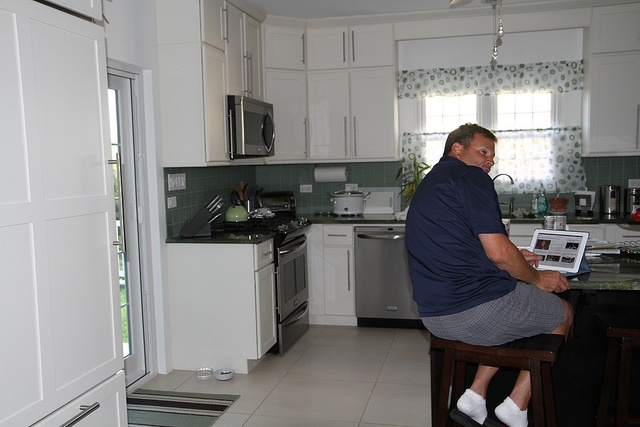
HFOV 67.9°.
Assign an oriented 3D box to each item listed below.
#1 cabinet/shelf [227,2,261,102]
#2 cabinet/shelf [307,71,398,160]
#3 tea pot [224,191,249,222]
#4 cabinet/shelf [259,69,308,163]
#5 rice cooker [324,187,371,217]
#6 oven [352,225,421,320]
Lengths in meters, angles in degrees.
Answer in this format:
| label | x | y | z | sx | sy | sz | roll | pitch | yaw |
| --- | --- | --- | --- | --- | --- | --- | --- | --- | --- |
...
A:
| label | x | y | z | sx | sy | sz | roll | pitch | yaw |
| --- | --- | --- | --- | --- | --- | --- | --- | --- | --- |
| cabinet/shelf | -0.753 | -1.563 | 4.650 | 0.221 | 0.738 | 0.344 | 3 | 11 | 6 |
| cabinet/shelf | 0.383 | -1.103 | 5.305 | 1.111 | 0.933 | 0.576 | 4 | 10 | 14 |
| tea pot | -0.822 | -0.047 | 4.880 | 0.226 | 0.258 | 0.357 | 0 | 2 | -4 |
| cabinet/shelf | -0.410 | -1.053 | 5.382 | 0.393 | 1.024 | 0.393 | -3 | 4 | -30 |
| rice cooker | 0.348 | -0.129 | 5.474 | 0.422 | 0.207 | 0.294 | 1 | 6 | 20 |
| oven | 0.843 | 0.611 | 5.279 | 0.926 | 1.267 | 0.911 | -1 | 0 | 15 |
